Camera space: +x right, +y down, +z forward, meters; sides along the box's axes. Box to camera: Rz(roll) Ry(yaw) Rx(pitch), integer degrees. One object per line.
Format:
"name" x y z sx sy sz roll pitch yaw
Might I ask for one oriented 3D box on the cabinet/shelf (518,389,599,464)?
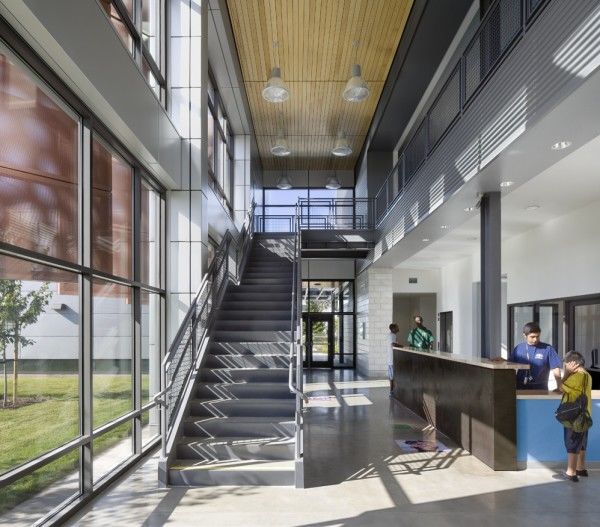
"cabinet/shelf" 2.903 1.841 5.826 0.996 1.036 0.700 0 -7 -4

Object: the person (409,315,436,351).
"person" 2.475 1.699 9.925 0.453 1.307 0.282 -3 17 13

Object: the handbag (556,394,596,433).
"handbag" 2.828 1.542 4.995 0.339 0.378 0.189 -2 -9 18

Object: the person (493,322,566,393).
"person" 2.921 1.241 5.982 0.641 0.976 0.498 2 30 33
